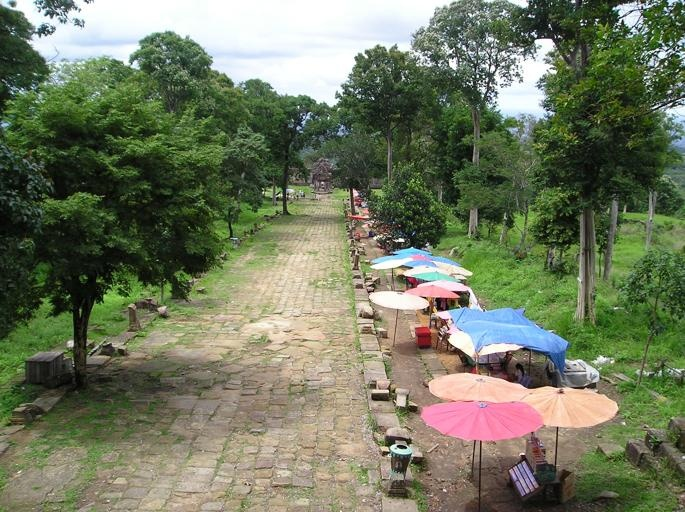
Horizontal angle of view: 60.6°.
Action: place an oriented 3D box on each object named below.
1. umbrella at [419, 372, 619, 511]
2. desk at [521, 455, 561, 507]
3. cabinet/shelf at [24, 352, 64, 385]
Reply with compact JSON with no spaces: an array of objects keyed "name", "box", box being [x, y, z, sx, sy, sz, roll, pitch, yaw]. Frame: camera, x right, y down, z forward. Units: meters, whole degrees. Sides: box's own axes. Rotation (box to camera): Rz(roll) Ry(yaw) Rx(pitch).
[{"name":"umbrella","box":[3.567,4.565,12.545,3.504,2.229,2.935,-4,9,-22]},{"name":"desk","box":[4.228,4.783,12.579,0.856,0.846,0.923,-12,19,-8]},{"name":"cabinet/shelf","box":[-7.939,3.004,15.639,0.906,0.543,0.870,1,7,-6]}]
